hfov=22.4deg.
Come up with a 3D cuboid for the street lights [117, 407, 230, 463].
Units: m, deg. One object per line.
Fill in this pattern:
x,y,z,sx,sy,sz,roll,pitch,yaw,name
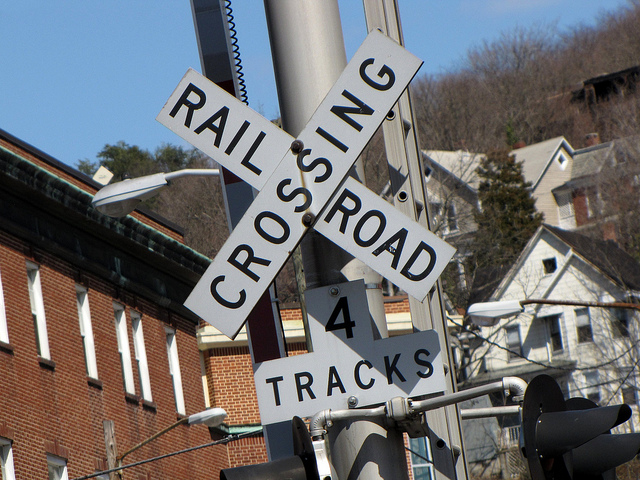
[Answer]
-4.662,6.144,49.706,4.466,0.712,0.800,-28,-47,33,street lights
